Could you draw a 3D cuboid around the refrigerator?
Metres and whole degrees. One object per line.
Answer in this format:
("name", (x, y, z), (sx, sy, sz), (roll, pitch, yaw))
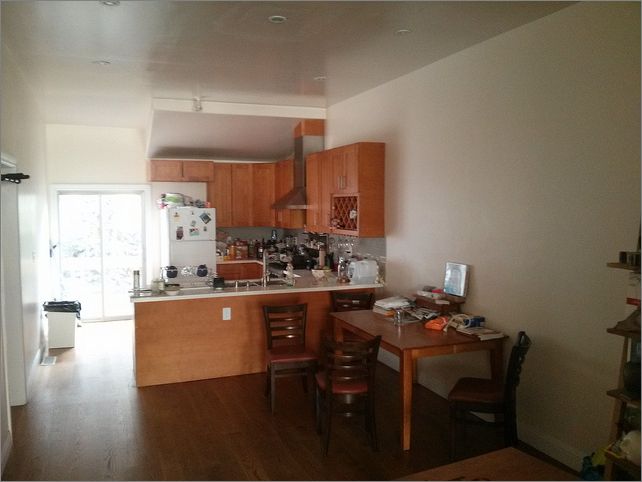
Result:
("refrigerator", (-2.069, 0.022, 7.747), (0.812, 1.127, 1.351), (-3, 8, -16))

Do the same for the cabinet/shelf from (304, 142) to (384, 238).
("cabinet/shelf", (0.330, -0.650, 6.290), (0.434, 1.177, 1.366), (1, 1, -21))

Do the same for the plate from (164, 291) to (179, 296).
("plate", (-1.685, 0.591, 5.593), (0.138, 0.056, 0.104), (-3, 7, -19))

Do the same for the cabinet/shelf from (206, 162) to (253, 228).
("cabinet/shelf", (-1.666, -0.865, 9.176), (0.826, 1.167, 0.233), (-1, 8, -7))

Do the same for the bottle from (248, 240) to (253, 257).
("bottle", (-1.327, 0.158, 9.474), (0.127, 0.279, 0.489), (-2, 7, -8))

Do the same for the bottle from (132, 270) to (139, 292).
("bottle", (-2.104, 0.461, 5.605), (0.063, 0.233, 0.091), (-4, 9, -27))

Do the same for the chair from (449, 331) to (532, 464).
("chair", (1.453, 1.277, 4.249), (0.598, 1.082, 0.749), (3, 8, 23))

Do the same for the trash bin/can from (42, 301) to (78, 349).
("trash bin/can", (-3.678, 1.209, 7.019), (0.458, 0.642, 0.308), (-4, 8, -24))

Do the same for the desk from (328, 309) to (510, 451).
("desk", (0.964, 1.023, 4.624), (1.040, 0.762, 1.466), (0, 3, -19))

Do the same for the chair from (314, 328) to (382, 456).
("chair", (0.231, 1.289, 4.371), (0.572, 0.996, 0.595), (-1, 7, -2))
